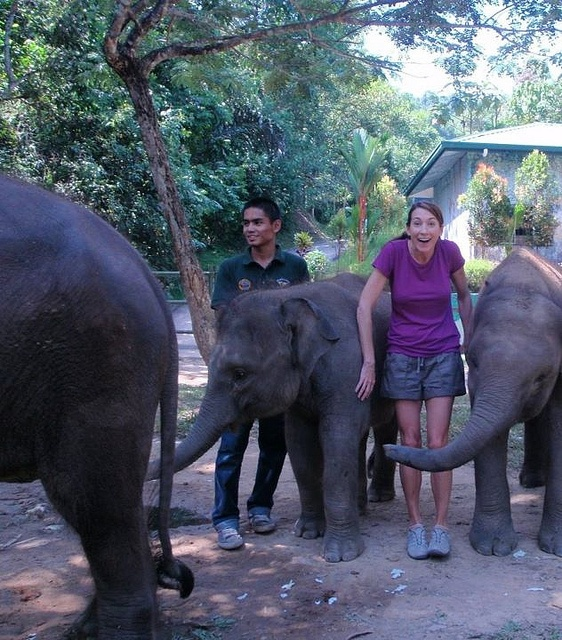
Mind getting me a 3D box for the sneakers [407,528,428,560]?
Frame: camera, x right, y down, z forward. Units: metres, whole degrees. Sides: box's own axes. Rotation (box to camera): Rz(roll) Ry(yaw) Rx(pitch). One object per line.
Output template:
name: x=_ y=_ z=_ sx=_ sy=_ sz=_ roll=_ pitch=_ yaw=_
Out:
sneakers: x=0.596 y=0.953 z=3.023 sx=0.087 sy=0.110 sz=0.233 roll=-3 pitch=2 yaw=11
